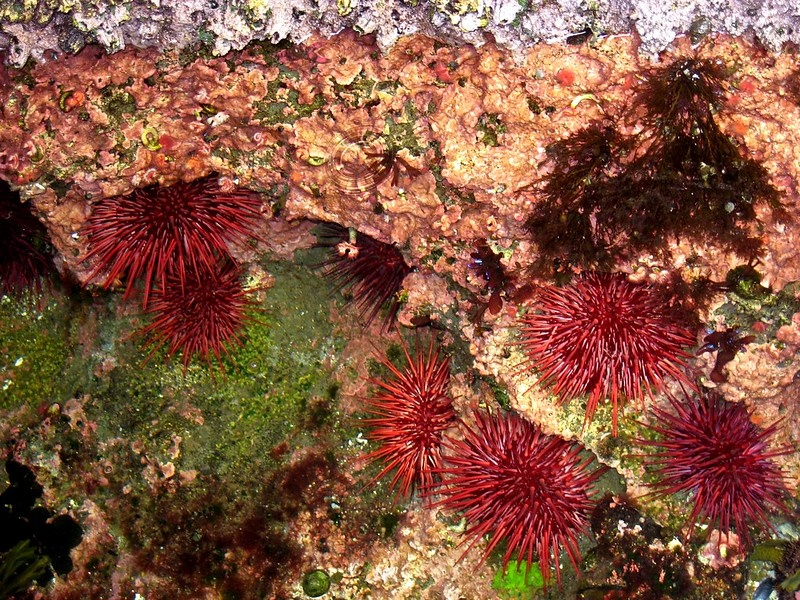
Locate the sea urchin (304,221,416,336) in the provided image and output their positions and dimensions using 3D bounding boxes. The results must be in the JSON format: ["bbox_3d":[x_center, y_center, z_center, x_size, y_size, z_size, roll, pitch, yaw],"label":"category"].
[{"bbox_3d":[-0.353,-0.241,7.888,1.002,1.047,0.437,33,65,21],"label":"sea urchin"}]
